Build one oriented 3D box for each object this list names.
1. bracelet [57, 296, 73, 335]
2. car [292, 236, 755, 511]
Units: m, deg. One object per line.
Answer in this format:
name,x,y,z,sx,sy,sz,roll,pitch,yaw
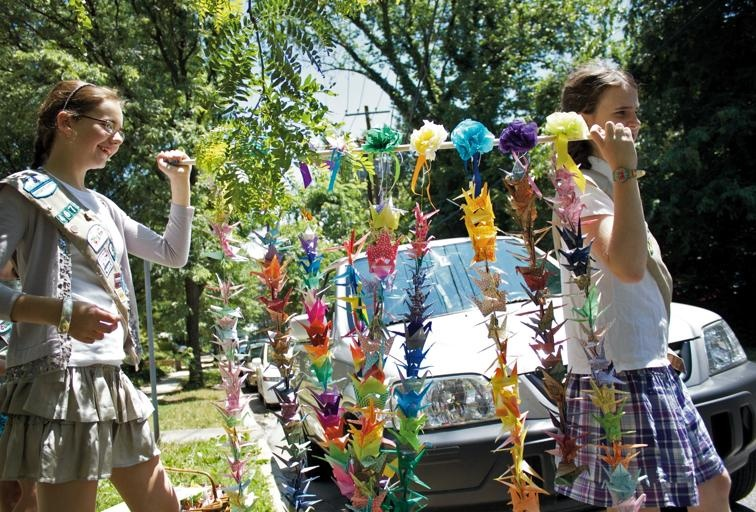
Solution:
bracelet,-1.891,0.356,4.680,0.037,0.164,0.159,6,-10,-5
car,1.049,0.994,6.757,1.986,1.750,3.475,-3,-16,-27
